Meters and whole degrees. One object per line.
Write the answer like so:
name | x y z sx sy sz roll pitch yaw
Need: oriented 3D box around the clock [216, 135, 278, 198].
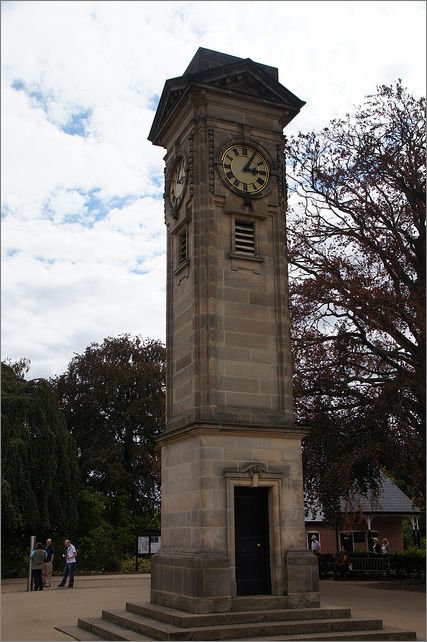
clock | 0.746 -3.717 18.165 1.732 1.602 0.225 4 -19 -37

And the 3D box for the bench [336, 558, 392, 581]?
bench | 6.061 10.208 30.851 2.121 0.826 1.080 -3 -18 7

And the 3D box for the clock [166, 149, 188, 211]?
clock | -0.905 -3.539 19.059 0.060 1.573 1.674 7 -9 -21

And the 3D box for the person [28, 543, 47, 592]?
person | -5.881 8.314 24.925 0.434 1.309 1.095 3 -18 -11
